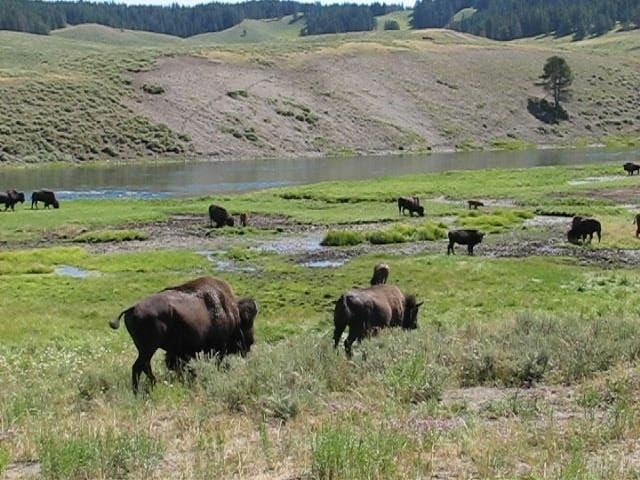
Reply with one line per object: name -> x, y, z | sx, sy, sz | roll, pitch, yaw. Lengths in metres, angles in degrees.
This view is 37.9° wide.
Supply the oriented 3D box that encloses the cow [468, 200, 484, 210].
cow -> 20.594, -4.610, 124.074 | 1.909, 1.195, 2.853 | 1, 13, 5
